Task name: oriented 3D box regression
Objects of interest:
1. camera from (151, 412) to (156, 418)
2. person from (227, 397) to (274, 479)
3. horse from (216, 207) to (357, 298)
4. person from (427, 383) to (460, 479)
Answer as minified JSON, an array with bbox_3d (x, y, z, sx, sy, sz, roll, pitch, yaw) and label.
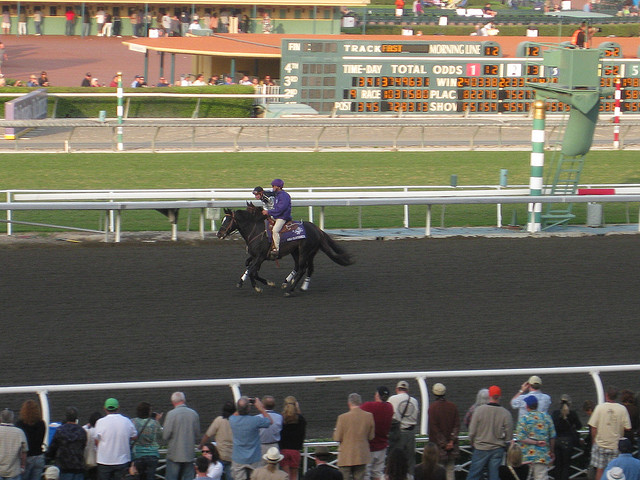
[{"bbox_3d":[-3.243,3.381,36.486,0.116,0.088,0.156,-1,9,-7],"label":"camera"},{"bbox_3d":[-1.334,3.815,36.253,0.846,1.589,0.302,-1,7,-2],"label":"person"},{"bbox_3d":[-0.762,0.250,40.684,3.766,1.442,0.877,3,-9,-36],"label":"horse"},{"bbox_3d":[2.471,3.725,36.447,0.588,1.877,0.206,0,7,2],"label":"person"}]
